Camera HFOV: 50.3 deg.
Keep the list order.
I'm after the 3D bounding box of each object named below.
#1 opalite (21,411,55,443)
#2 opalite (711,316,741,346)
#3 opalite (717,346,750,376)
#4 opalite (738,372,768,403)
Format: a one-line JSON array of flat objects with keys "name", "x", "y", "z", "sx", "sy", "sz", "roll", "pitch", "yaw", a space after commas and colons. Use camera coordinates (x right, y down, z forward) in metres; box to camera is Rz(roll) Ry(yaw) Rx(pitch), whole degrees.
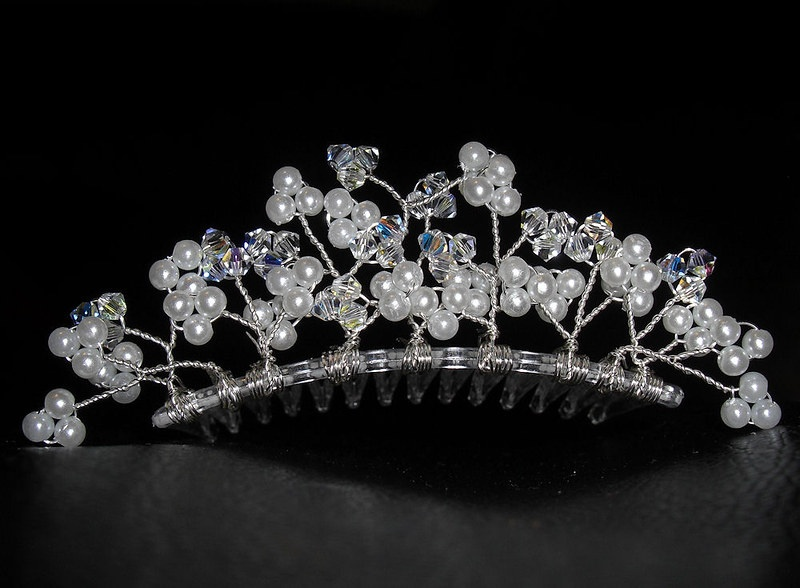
[{"name": "opalite", "x": -0.674, "y": 0.254, "z": 1.596, "sx": 0.056, "sy": 0.069, "sz": 0.045, "roll": -4, "pitch": 53, "yaw": -5}, {"name": "opalite", "x": 0.626, "y": 0.070, "z": 1.629, "sx": 0.057, "sy": 0.045, "sz": 0.046, "roll": -15, "pitch": 96, "yaw": -6}, {"name": "opalite", "x": 0.642, "y": 0.125, "z": 1.627, "sx": 0.054, "sy": 0.015, "sz": 0.057, "roll": 7, "pitch": 87, "yaw": 3}, {"name": "opalite", "x": 0.673, "y": 0.177, "z": 1.618, "sx": 0.051, "sy": 0.029, "sz": 0.053, "roll": -8, "pitch": 89, "yaw": 17}]
